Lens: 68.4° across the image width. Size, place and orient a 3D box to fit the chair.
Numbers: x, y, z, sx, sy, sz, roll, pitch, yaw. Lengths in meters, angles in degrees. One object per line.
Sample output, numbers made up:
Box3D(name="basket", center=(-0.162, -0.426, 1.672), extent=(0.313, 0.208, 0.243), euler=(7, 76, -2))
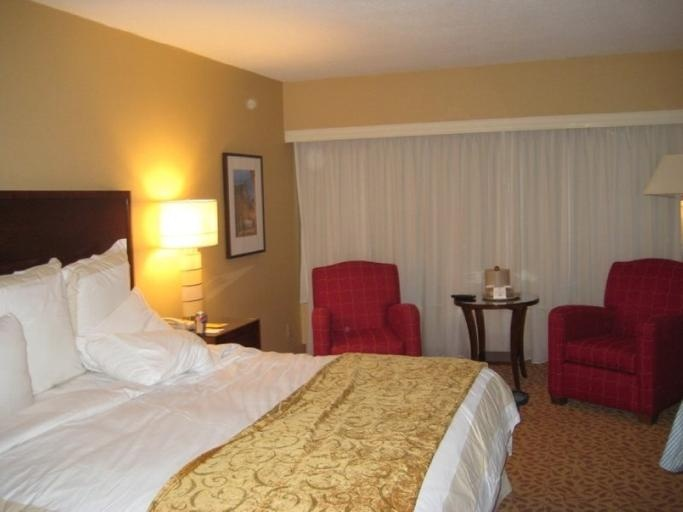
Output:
Box3D(name="chair", center=(0.211, 0.549, 5.292), extent=(0.976, 1.311, 1.014), euler=(0, -15, -4))
